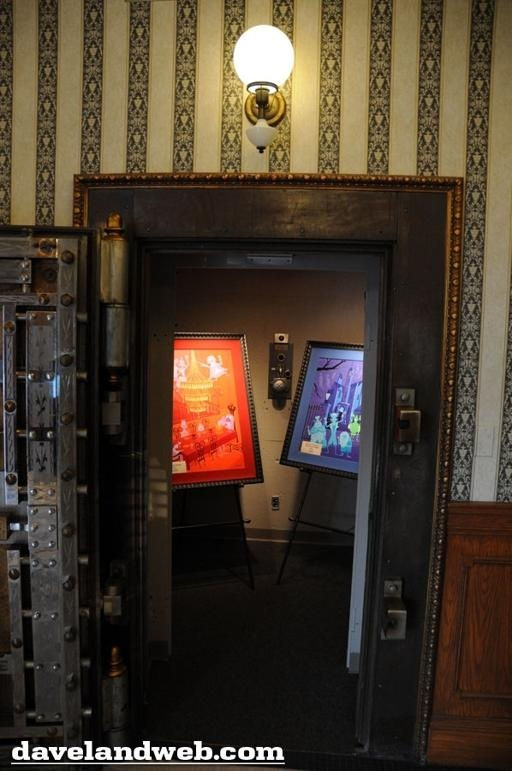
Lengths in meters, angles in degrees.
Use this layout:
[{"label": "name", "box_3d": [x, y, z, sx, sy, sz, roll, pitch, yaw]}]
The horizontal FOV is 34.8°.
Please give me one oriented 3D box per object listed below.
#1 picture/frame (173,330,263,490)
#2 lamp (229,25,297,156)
[{"label": "picture/frame", "box_3d": [-0.210, 0.126, 4.385, 0.499, 0.771, 0.409, 0, 7, -15]}, {"label": "lamp", "box_3d": [0.023, -0.974, 2.696, 0.201, 0.396, 0.224, 2, 7, 1]}]
